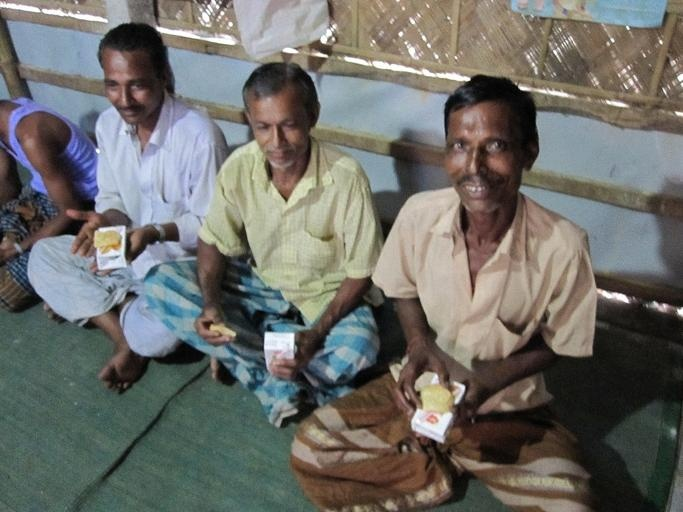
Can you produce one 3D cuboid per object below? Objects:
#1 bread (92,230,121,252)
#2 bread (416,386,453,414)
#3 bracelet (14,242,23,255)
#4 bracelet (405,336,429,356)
[{"bbox_3d":[-1.576,-0.105,4.303,0.198,0.101,0.115,1,35,4],"label":"bread"},{"bbox_3d":[0.514,0.775,3.438,0.182,0.102,0.137,3,35,8],"label":"bread"},{"bbox_3d":[-2.595,-0.064,5.111,0.050,0.086,0.088,-19,70,-12],"label":"bracelet"},{"bbox_3d":[0.447,0.532,3.725,0.115,0.043,0.091,-30,40,-11],"label":"bracelet"}]
